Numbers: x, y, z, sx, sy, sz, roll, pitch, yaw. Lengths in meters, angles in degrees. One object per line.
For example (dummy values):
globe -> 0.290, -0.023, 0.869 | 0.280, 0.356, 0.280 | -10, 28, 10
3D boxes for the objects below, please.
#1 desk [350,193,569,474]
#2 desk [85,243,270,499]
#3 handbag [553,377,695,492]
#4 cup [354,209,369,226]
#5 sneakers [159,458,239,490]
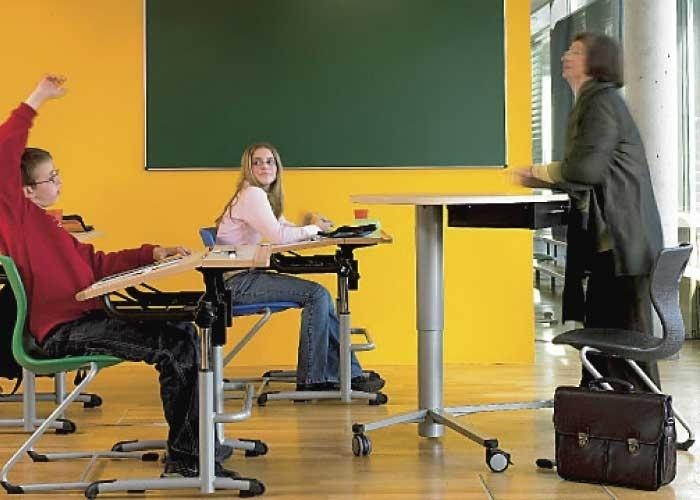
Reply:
desk -> 0.627, 0.331, 4.328 | 1.294, 1.344, 1.245 | 3, 6, 36
desk -> -0.693, 0.633, 4.260 | 1.148, 1.364, 1.022 | 2, -4, -3
handbag -> 1.279, 0.887, 3.845 | 0.551, 0.426, 0.226 | 1, 2, 22
cup -> 0.075, -0.217, 5.163 | 0.134, 0.093, 0.106 | 0, -6, -3
sneakers -> -0.681, 1.044, 3.802 | 0.378, 0.134, 0.122 | 0, -1, 0
